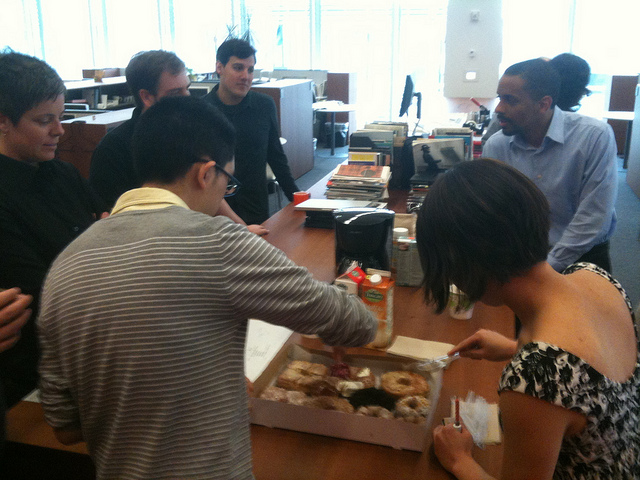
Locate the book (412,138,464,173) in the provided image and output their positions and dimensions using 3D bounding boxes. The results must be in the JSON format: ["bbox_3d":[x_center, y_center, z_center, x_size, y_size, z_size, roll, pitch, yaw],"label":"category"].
[{"bbox_3d":[0.757,-0.544,3.286,0.196,0.237,0.367,-16,17,-31],"label":"book"}]

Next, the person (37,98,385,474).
[{"bbox_3d":[-0.313,0.122,1.254,0.798,0.895,0.376,-5,18,-17],"label":"person"}]

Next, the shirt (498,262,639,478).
[{"bbox_3d":[0.649,0.343,1.313,0.292,0.568,0.470,-4,16,34],"label":"shirt"}]

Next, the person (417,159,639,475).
[{"bbox_3d":[0.549,0.219,1.354,0.502,0.930,0.470,-37,37,-26],"label":"person"}]

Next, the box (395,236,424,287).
[{"bbox_3d":[0.400,0.101,2.191,0.121,0.182,0.115,12,29,27],"label":"box"}]

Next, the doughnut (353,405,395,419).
[{"bbox_3d":[0.154,0.487,1.416,0.052,0.018,0.045,6,2,-18],"label":"doughnut"}]

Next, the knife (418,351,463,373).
[{"bbox_3d":[0.388,0.392,1.597,0.131,0.034,0.040,-20,7,-14],"label":"knife"}]

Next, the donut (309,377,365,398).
[{"bbox_3d":[0.044,0.440,1.483,0.094,0.029,0.069,-1,9,0],"label":"donut"}]

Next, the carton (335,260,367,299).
[{"bbox_3d":[0.129,0.124,1.728,0.090,0.171,0.123,8,35,21],"label":"carton"}]

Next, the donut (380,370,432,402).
[{"bbox_3d":[0.254,0.444,1.504,0.138,0.042,0.137,-12,21,-43],"label":"donut"}]

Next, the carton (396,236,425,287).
[{"bbox_3d":[0.384,0.093,2.187,0.105,0.213,0.138,-1,17,-2],"label":"carton"}]

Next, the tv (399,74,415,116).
[{"bbox_3d":[0.743,-1.237,4.266,0.099,0.326,0.296,4,17,12],"label":"tv"}]

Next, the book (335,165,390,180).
[{"bbox_3d":[0.270,-0.419,3.102,0.167,0.039,0.167,3,25,9],"label":"book"}]
